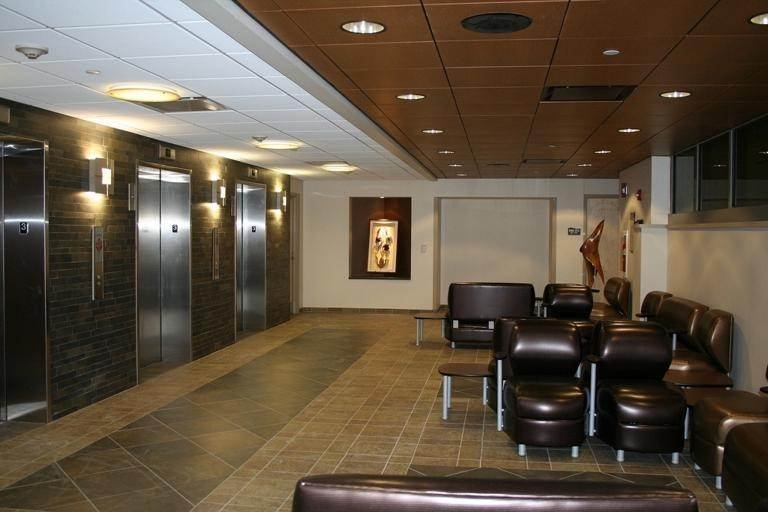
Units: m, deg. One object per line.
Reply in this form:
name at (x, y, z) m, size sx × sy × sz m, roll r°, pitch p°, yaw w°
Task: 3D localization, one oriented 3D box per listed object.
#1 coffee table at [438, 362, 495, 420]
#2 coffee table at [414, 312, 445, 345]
coffee table at (1.112, 1.778, 7.138) m, size 0.888 × 0.517 × 0.673 m, roll 1°, pitch 0°, yaw 16°
coffee table at (0.930, 1.523, 11.205) m, size 0.802 × 0.463 × 0.722 m, roll 1°, pitch 0°, yaw 12°
